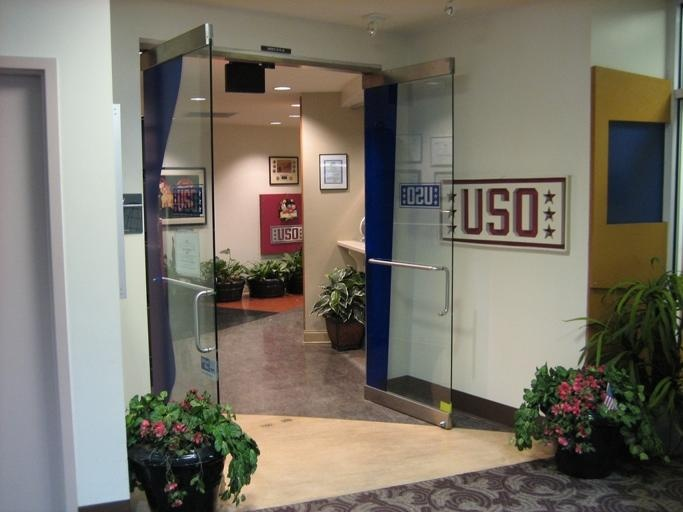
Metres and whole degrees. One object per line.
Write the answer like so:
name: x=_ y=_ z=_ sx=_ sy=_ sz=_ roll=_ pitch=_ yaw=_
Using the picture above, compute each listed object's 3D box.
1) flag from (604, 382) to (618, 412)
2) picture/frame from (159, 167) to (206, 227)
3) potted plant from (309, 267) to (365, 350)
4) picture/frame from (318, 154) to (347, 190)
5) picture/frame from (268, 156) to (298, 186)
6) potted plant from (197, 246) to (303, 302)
flag: x=1.643 y=0.850 z=3.329 sx=0.086 sy=0.147 sz=0.079 roll=0 pitch=8 yaw=5
picture/frame: x=-0.995 y=-0.385 z=3.461 sx=0.359 sy=0.381 sz=0.012 roll=4 pitch=6 yaw=38
potted plant: x=0.055 y=0.572 z=6.206 sx=0.713 sy=0.878 sz=0.754 roll=1 pitch=7 yaw=11
picture/frame: x=-0.113 y=-0.980 z=6.221 sx=0.385 sy=0.497 sz=0.031 roll=-1 pitch=3 yaw=-15
picture/frame: x=-1.018 y=-1.476 z=9.347 sx=0.507 sy=0.493 sz=0.042 roll=0 pitch=-1 yaw=-34
potted plant: x=-1.461 y=0.272 z=8.866 sx=1.551 sy=0.649 sz=0.707 roll=0 pitch=1 yaw=-19
